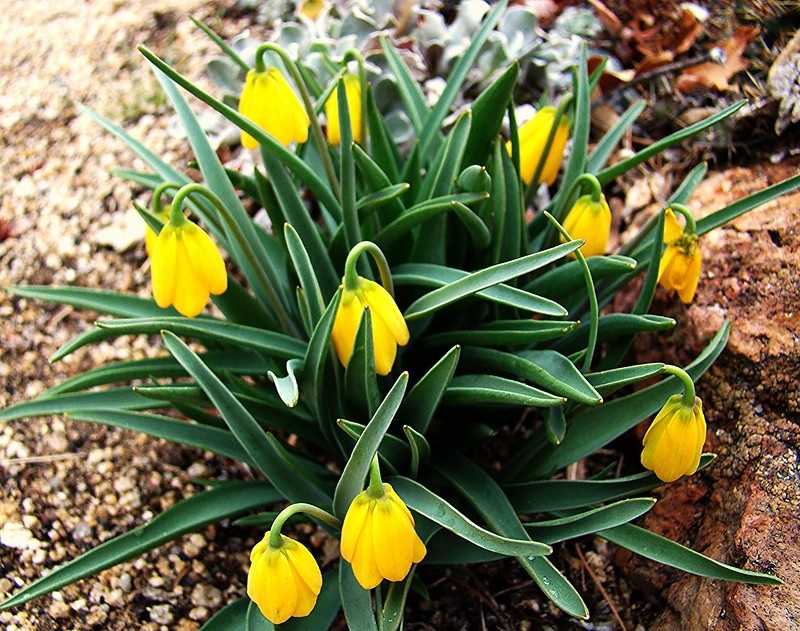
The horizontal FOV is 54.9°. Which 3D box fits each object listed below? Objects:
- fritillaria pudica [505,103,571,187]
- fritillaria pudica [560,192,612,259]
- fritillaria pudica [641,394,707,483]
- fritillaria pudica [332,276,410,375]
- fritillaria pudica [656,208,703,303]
[{"bbox_3d":[0.403,-0.484,2.242,0.179,0.255,0.172,0,61,7],"label":"fritillaria pudica"},{"bbox_3d":[0.515,-0.246,2.133,0.123,0.151,0.131,10,63,12],"label":"fritillaria pudica"},{"bbox_3d":[0.683,0.308,1.924,0.121,0.232,0.153,26,31,14],"label":"fritillaria pudica"},{"bbox_3d":[-0.078,0.035,1.883,0.165,0.173,0.171,30,69,20],"label":"fritillaria pudica"},{"bbox_3d":[0.762,-0.163,2.096,0.111,0.279,0.108,21,50,25],"label":"fritillaria pudica"}]
